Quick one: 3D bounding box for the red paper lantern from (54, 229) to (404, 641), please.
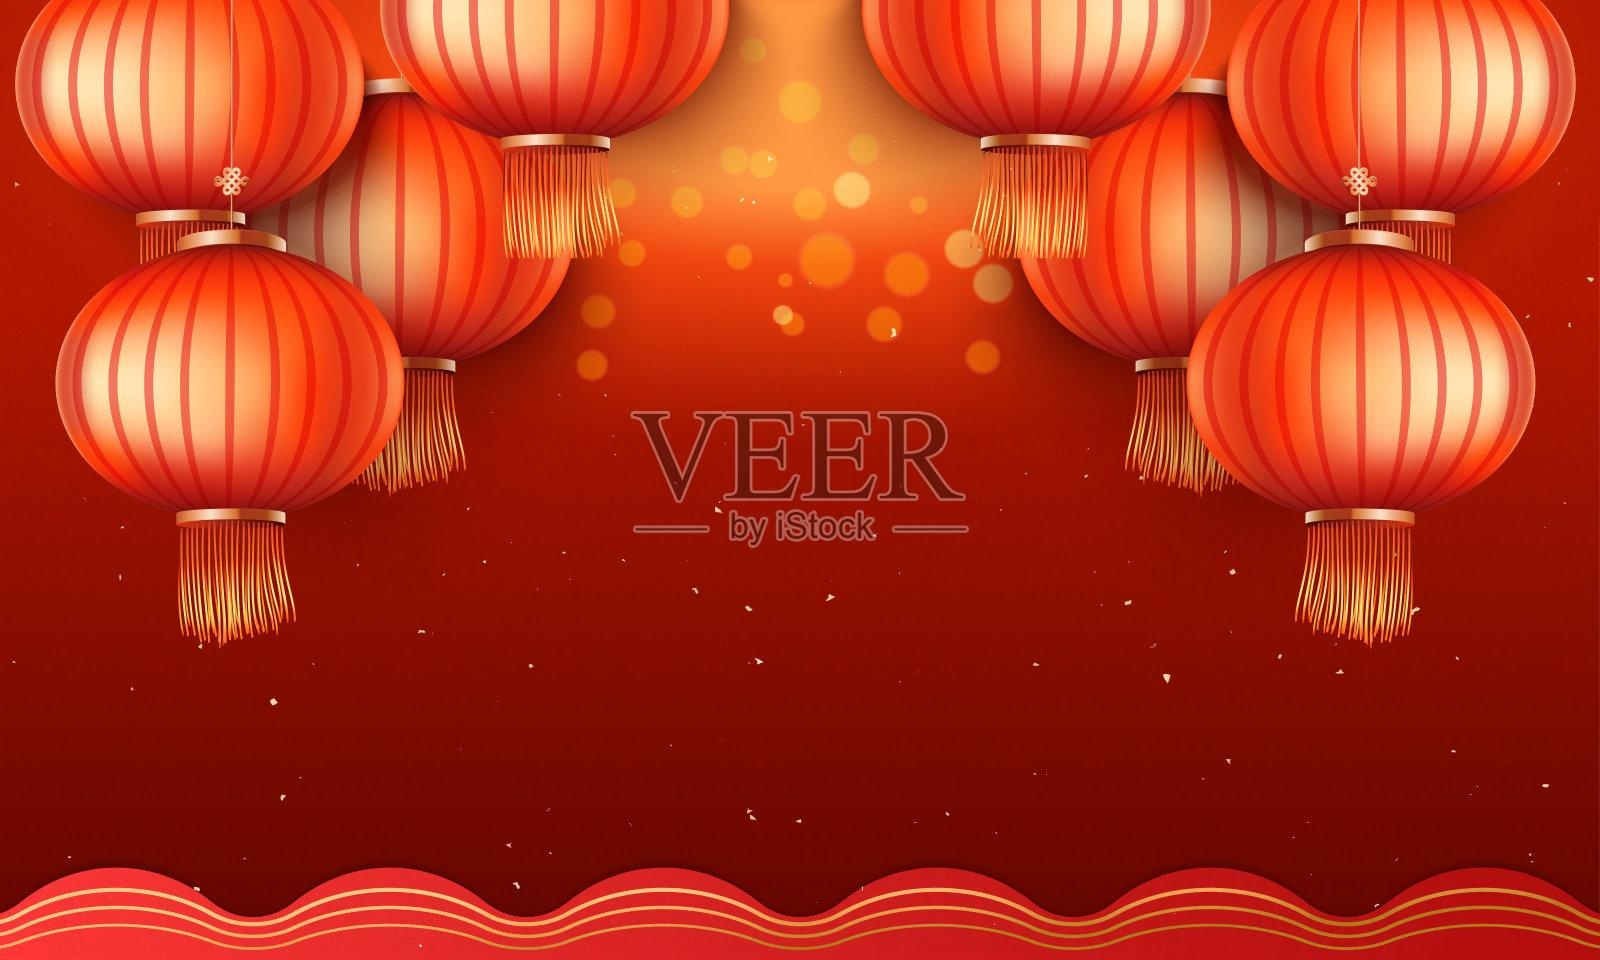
[{"bbox_3d":[-1.336,-0.089,4.311,0.781,0.753,1.008,-2,-86,-32],"label":"red paper lantern"}]

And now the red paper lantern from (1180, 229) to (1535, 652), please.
[{"bbox_3d":[1.315,-0.092,4.287,0.778,0.755,0.996,-1,-87,-22],"label":"red paper lantern"}]
